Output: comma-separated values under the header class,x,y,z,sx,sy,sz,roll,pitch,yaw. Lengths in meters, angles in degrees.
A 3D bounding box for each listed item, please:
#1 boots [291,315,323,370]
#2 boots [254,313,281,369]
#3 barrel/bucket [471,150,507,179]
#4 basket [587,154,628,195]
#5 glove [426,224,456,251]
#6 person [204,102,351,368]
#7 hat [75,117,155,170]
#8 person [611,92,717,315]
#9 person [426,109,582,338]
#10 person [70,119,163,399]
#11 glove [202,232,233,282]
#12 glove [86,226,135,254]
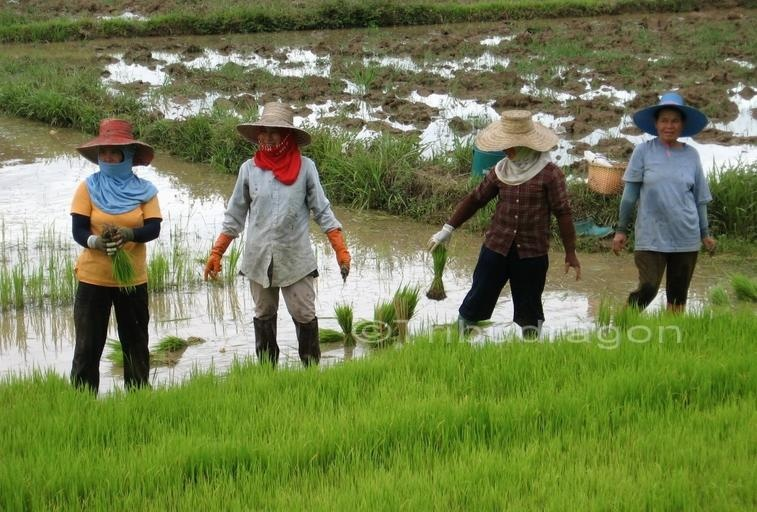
class,x,y,z,sx,sy,sz,roll,pitch,yaw
boots,-0.768,0.950,10.858,0.267,0.958,0.313,-4,14,-14
boots,-1.225,0.905,10.800,0.211,0.631,0.179,-6,30,-21
barrel/bucket,1.520,-1.348,14.472,0.457,0.498,0.434,1,11,0
basket,3.212,-1.145,14.031,0.533,0.396,0.424,-1,11,-39
glove,0.670,-0.195,11.050,0.203,0.356,0.115,45,3,32
person,-1.041,-0.215,10.687,1.354,2.776,0.430,-2,6,-12
hat,-2.614,-1.184,10.424,0.550,0.303,0.582,-1,2,7
person,3.154,-0.589,11.230,0.996,2.425,0.496,1,6,17
person,1.439,-0.329,10.772,1.329,2.426,0.382,0,6,11
person,-2.657,0.006,10.204,0.942,2.754,0.589,-3,6,-19
glove,-1.683,0.010,10.750,0.294,0.525,0.497,-2,6,-9
glove,-2.623,-0.156,9.939,0.256,0.108,0.340,-10,24,12
